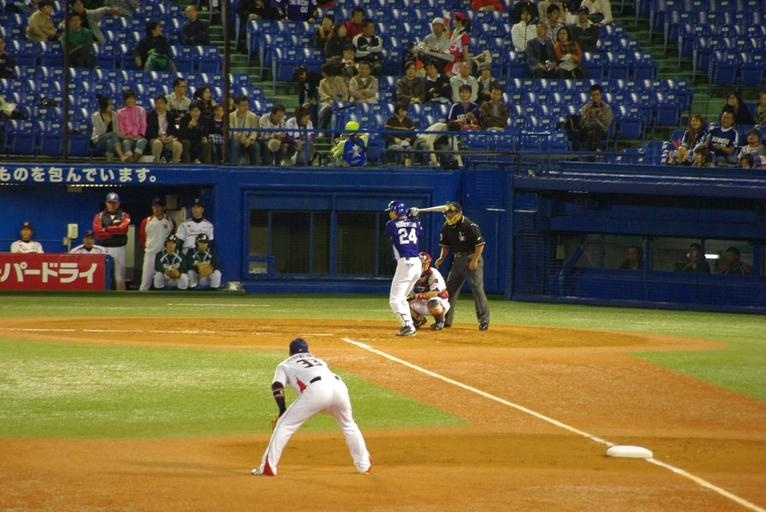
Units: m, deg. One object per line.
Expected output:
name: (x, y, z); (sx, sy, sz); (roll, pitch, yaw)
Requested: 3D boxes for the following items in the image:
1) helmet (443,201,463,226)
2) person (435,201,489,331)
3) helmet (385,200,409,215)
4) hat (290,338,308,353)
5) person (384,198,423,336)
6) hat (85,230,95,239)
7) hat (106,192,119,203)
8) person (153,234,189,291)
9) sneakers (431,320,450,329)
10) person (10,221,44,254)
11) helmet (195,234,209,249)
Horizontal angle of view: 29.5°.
helmet: (1.536, -0.976, 32.327); (0.373, 0.505, 0.574); (1, -3, 2)
person: (1.759, 0.209, 32.598); (1.182, 2.836, 1.266); (1, -3, 4)
helmet: (0.209, -1.094, 31.996); (0.574, 0.285, 0.377); (9, 7, 29)
hat: (-1.501, 1.551, 25.331); (0.243, 0.265, 0.281); (1, 17, -8)
person: (0.422, 0.240, 32.024); (0.803, 3.005, 0.743); (1, -3, 1)
hat: (-7.968, -0.631, 38.936); (0.267, 0.192, 0.404); (4, -7, -13)
hat: (-7.323, -1.577, 38.774); (0.298, 0.212, 0.391); (4, -2, -4)
person: (-5.766, 0.188, 39.086); (0.936, 1.407, 0.668); (2, -3, -9)
sneakers: (1.326, 1.548, 33.093); (0.511, 0.203, 0.168); (-9, 13, -40)
person: (-9.781, -0.509, 39.237); (0.914, 0.541, 1.710); (1, 29, -18)
helmet: (-4.947, -0.417, 39.047); (0.357, 0.382, 0.353); (2, -3, -10)
